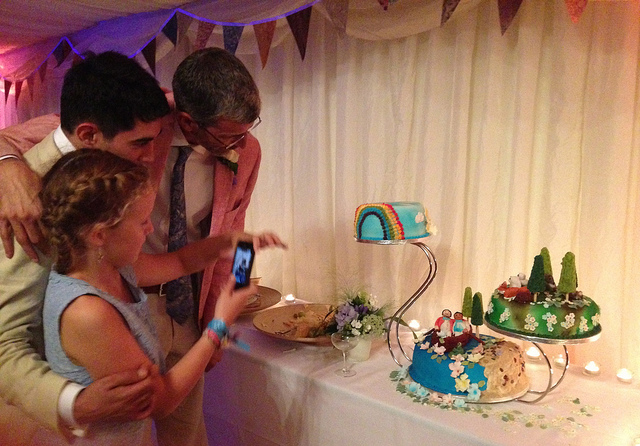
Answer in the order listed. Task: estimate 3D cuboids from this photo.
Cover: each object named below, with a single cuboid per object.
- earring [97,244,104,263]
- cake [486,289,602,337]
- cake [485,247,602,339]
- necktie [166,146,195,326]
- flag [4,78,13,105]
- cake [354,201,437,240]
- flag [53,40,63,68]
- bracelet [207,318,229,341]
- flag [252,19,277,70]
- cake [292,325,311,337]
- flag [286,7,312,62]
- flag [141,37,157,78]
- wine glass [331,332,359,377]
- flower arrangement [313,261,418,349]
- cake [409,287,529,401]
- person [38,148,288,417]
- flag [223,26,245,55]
[{"bbox_3d":[-0.812,0.118,1.828,0.020,0.065,0.031,-4,9,-26],"label":"earring"},{"bbox_3d":[1.020,0.399,2.342,0.413,0.130,0.407,-10,8,-24],"label":"cake"},{"bbox_3d":[1.072,0.316,2.388,0.498,0.349,0.518,0,6,-7],"label":"cake"},{"bbox_3d":[-0.705,0.073,2.506,0.169,0.916,0.107,-3,9,-22],"label":"necktie"},{"bbox_3d":[-3.625,-1.531,5.749,0.073,0.222,0.924,-5,9,-32],"label":"flag"},{"bbox_3d":[0.344,-0.005,2.430,0.340,0.181,0.170,1,8,5],"label":"cake"},{"bbox_3d":[-2.286,-1.478,4.326,0.047,0.178,0.248,-6,9,-35],"label":"flag"},{"bbox_3d":[-0.400,0.415,1.953,0.068,0.053,0.070,23,-1,-2],"label":"bracelet"},{"bbox_3d":[-0.371,-1.145,3.248,0.151,0.419,0.008,2,-9,-13],"label":"flag"},{"bbox_3d":[-0.113,0.603,2.753,0.059,0.020,0.064,-5,27,31],"label":"cake"},{"bbox_3d":[-0.135,-1.289,3.354,0.189,0.538,0.010,1,-10,-17],"label":"flag"},{"bbox_3d":[-1.248,-1.246,3.727,0.093,0.320,0.007,-35,-15,27],"label":"flag"},{"bbox_3d":[0.120,0.635,2.397,0.172,0.273,0.180,0,-5,3],"label":"wine glass"},{"bbox_3d":[0.189,0.451,2.727,0.420,0.298,0.377,3,-4,1],"label":"flower arrangement"},{"bbox_3d":[0.725,0.538,2.393,0.534,0.375,0.517,-14,16,-40],"label":"cake"},{"bbox_3d":[-0.702,0.234,1.881,0.596,1.018,0.430,2,8,17],"label":"person"},{"bbox_3d":[-0.577,-1.199,3.231,0.136,0.020,0.240,-2,-29,-16],"label":"flag"}]
